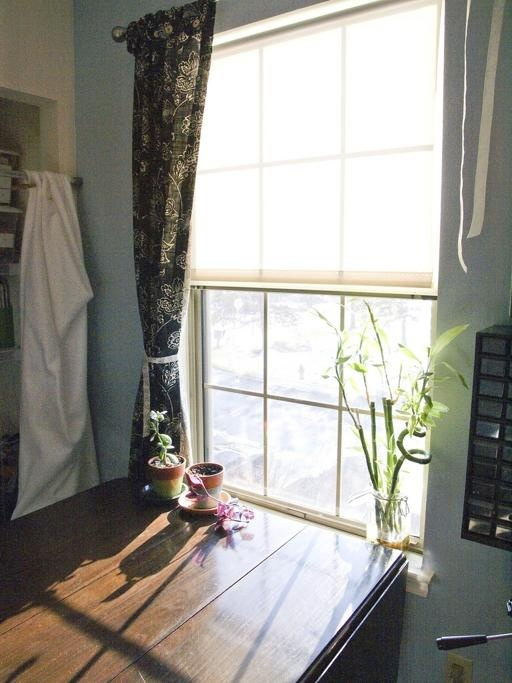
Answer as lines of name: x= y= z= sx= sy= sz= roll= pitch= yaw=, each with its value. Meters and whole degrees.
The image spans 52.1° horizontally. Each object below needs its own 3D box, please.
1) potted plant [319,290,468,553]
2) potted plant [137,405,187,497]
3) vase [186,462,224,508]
potted plant: x=0.373 y=0.253 z=1.417 sx=0.332 sy=0.658 sz=0.208 roll=3 pitch=18 yaw=26
potted plant: x=-0.268 y=0.353 z=1.554 sx=0.084 sy=0.087 sz=0.184 roll=22 pitch=40 yaw=-32
vase: x=-0.142 y=0.404 z=1.477 sx=0.088 sy=0.090 sz=0.103 roll=-1 pitch=-4 yaw=-2
